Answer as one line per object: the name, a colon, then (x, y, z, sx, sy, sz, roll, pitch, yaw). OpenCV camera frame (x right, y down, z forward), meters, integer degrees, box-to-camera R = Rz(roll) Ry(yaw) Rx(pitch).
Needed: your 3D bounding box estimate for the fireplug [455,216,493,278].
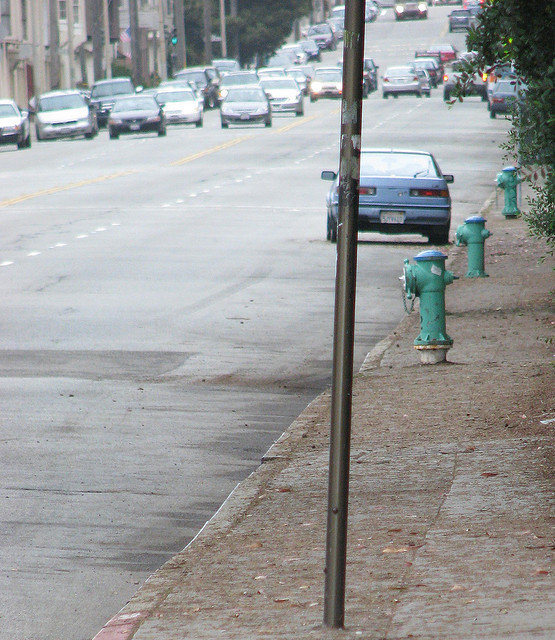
fireplug: (2.019, -0.745, 21.364, 0.400, 0.630, 0.235, 1, 8, 25)

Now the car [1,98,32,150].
car: (-6.310, -4.606, 50.443, 0.702, 1.209, 1.948, -6, 12, -6)

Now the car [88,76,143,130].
car: (-4.750, -6.130, 59.911, 1.462, 1.277, 2.859, -2, 6, -1)

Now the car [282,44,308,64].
car: (1.070, -13.793, 108.831, 0.897, 0.749, 2.012, 3, 20, 5)

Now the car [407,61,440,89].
car: (5.998, -9.892, 84.515, 0.790, 0.627, 1.753, 2, 13, 9)

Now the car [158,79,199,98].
car: (-3.072, -7.168, 64.449, 0.982, 0.820, 1.649, -2, -2, 4)

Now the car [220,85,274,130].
car: (-0.773, -5.528, 55.316, 1.543, 1.185, 3.245, -1, 6, 3)

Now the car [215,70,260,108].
car: (-1.301, -7.491, 70.475, 1.441, 1.137, 2.635, -2, 9, 5)

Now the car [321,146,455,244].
car: (1.526, -1.504, 25.660, 1.094, 0.717, 2.032, 1, 10, 2)

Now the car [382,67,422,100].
car: (4.455, -8.325, 74.503, 1.025, 0.829, 2.477, 0, 13, 5)

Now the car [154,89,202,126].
car: (-2.664, -5.611, 55.939, 1.397, 1.007, 2.978, -1, 5, -2)

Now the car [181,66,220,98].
car: (-2.400, -8.374, 73.427, 1.762, 0.810, 0.855, 4, 5, 30)

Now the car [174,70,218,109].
car: (-2.663, -7.929, 71.656, 0.885, 0.861, 1.733, 0, 8, 4)

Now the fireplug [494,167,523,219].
fireplug: (3.181, -1.706, 28.526, 0.588, 0.716, 0.597, -2, 2, 12)

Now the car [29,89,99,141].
car: (-5.534, -5.301, 54.863, 2.273, 1.729, 4.691, -5, 5, -6)

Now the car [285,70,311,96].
car: (0.824, -9.032, 80.372, 0.952, 0.787, 2.142, 0, 4, -1)

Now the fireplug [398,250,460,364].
fireplug: (1.164, -0.108, 16.146, 0.448, 0.849, 0.398, -1, -1, 0)

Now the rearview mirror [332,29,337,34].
rearview mirror: (3.399, -16.745, 122.425, 0.246, 0.235, 0.067, 2, -8, 45)

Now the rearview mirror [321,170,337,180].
rearview mirror: (0.631, -1.741, 25.523, 0.137, 0.087, 0.139, 1, 7, 4)
